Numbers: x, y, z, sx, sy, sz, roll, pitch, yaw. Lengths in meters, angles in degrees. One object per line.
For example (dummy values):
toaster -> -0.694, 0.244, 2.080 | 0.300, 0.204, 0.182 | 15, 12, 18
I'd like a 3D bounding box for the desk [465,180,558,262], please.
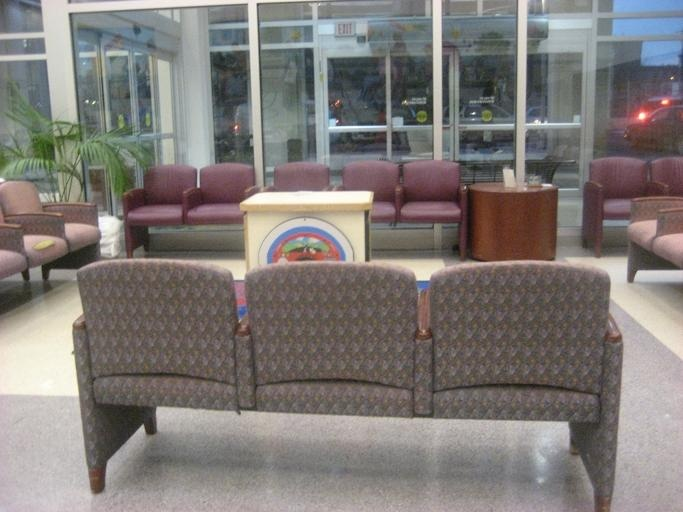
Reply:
desk -> 1.894, -0.412, 6.747 | 0.824, 0.658, 0.857 | -2, 8, -6
